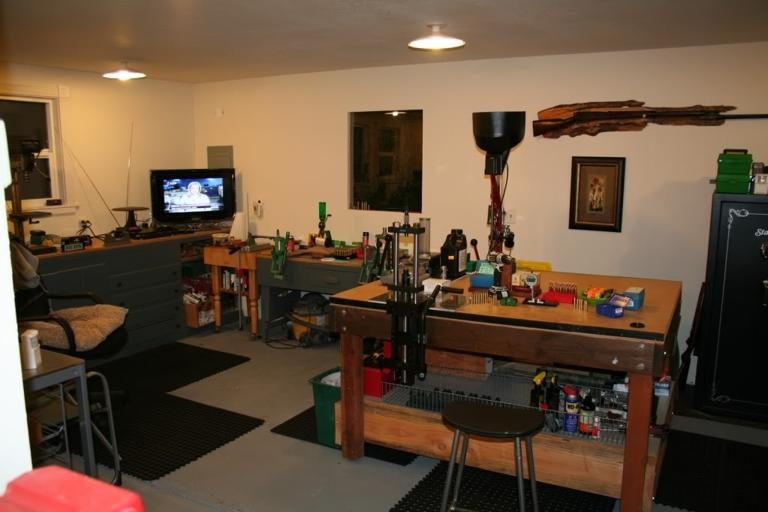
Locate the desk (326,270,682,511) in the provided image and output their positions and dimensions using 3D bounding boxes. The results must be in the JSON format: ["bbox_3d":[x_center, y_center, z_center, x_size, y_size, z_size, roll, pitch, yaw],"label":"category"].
[{"bbox_3d":[1.211,0.481,4.268,2.154,1.145,1.699,5,14,28],"label":"desk"}]

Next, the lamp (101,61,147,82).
[{"bbox_3d":[-2.834,-2.020,6.085,0.263,0.106,0.262,5,11,25],"label":"lamp"}]

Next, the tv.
[{"bbox_3d":[-2.438,-0.722,7.037,0.836,0.568,0.135,-4,11,-25],"label":"tv"}]

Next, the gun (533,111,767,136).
[{"bbox_3d":[2.610,-1.263,5.317,1.932,0.195,0.279,3,14,21],"label":"gun"}]

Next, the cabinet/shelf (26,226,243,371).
[{"bbox_3d":[-3.005,0.340,6.308,0.510,0.924,1.617,3,7,16],"label":"cabinet/shelf"}]

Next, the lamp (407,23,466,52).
[{"bbox_3d":[0.445,-1.845,4.761,0.443,0.120,0.517,1,9,5],"label":"lamp"}]

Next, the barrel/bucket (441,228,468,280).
[{"bbox_3d":[0.580,-0.021,4.719,0.221,0.345,0.236,0,12,0],"label":"barrel/bucket"}]

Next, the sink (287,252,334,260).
[{"bbox_3d":[-0.822,-0.031,6.435,0.523,0.092,0.284,2,9,11],"label":"sink"}]

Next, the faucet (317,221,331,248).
[{"bbox_3d":[-0.717,-0.272,6.754,0.181,0.298,0.226,0,9,-5],"label":"faucet"}]
